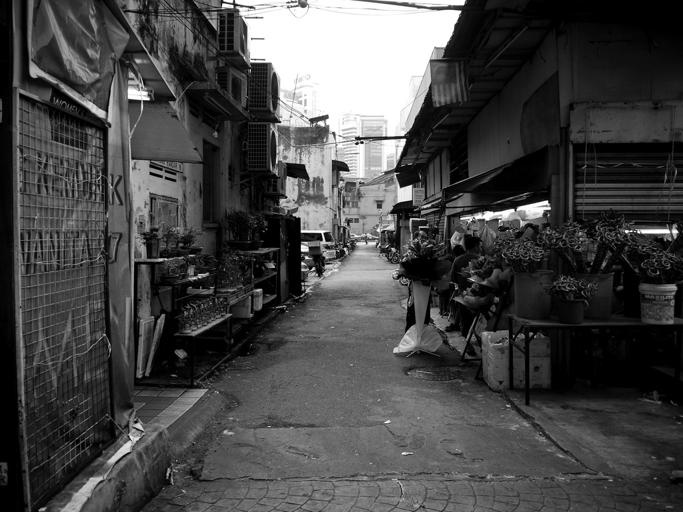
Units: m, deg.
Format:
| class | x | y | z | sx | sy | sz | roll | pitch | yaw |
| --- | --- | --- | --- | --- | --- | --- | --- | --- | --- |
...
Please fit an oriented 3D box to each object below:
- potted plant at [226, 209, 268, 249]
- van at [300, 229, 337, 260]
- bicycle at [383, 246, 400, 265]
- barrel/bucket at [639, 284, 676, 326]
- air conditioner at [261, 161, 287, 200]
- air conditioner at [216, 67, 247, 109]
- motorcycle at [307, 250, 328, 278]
| class | x | y | z | sx | sy | sz | roll | pitch | yaw |
| --- | --- | --- | --- | --- | --- | --- | --- | --- | --- |
| potted plant | -1.709 | -0.447 | 10.990 | 0.522 | 0.762 | 1.033 | -1 | -2 | 6 |
| van | -1.031 | -0.568 | 29.811 | 1.017 | 1.210 | 2.030 | 0 | 8 | 13 |
| bicycle | 2.647 | -0.011 | 30.226 | 0.700 | 0.854 | 1.199 | -1 | 1 | -11 |
| barrel/bucket | 3.259 | 0.508 | 6.355 | 0.343 | 0.432 | 0.379 | 0 | -2 | 4 |
| air conditioner | -1.547 | -2.131 | 12.485 | 0.340 | 0.976 | 1.079 | 0 | 1 | 4 |
| air conditioner | -1.888 | -2.903 | 10.636 | 0.510 | 0.806 | 2.000 | -2 | 6 | -9 |
| motorcycle | -0.877 | 0.329 | 22.350 | 0.467 | 0.713 | 1.061 | -2 | -8 | 3 |
